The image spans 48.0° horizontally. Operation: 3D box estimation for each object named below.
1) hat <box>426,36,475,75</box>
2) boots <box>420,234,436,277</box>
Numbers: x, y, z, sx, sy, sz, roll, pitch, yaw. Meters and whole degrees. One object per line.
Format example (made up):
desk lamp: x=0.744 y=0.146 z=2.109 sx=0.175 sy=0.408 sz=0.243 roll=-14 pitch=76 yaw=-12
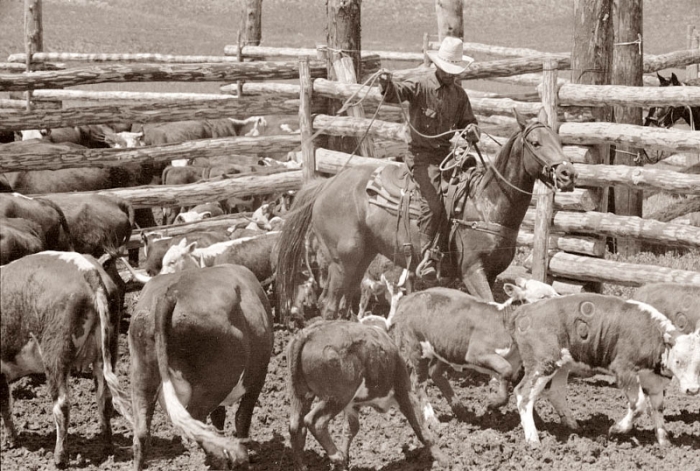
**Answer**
hat: x=1.317 y=-2.404 z=10.453 sx=0.545 sy=0.510 sz=0.416 roll=3 pitch=11 yaw=16
boots: x=1.045 y=0.231 z=10.608 sx=0.271 sy=0.577 sz=0.208 roll=-8 pitch=38 yaw=-8
